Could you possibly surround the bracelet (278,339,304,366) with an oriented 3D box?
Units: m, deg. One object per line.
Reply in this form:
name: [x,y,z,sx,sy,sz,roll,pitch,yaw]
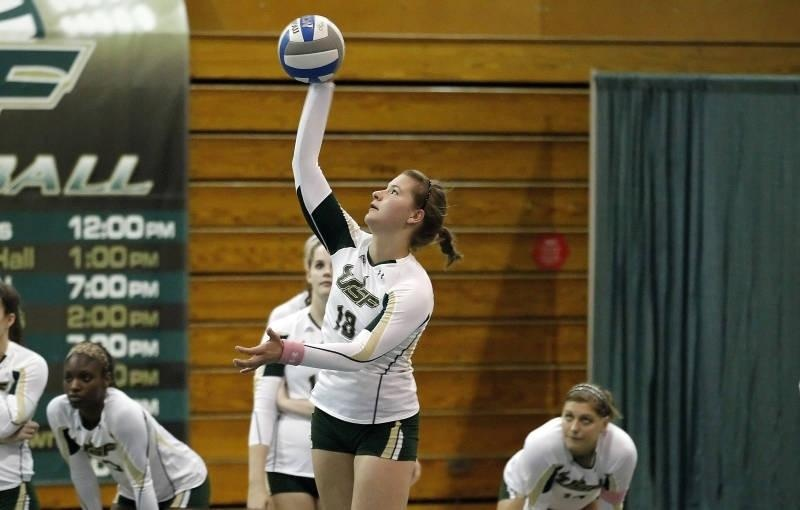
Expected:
bracelet: [-0.654,0.595,9.637,0.154,0.116,0.121,12,4,42]
